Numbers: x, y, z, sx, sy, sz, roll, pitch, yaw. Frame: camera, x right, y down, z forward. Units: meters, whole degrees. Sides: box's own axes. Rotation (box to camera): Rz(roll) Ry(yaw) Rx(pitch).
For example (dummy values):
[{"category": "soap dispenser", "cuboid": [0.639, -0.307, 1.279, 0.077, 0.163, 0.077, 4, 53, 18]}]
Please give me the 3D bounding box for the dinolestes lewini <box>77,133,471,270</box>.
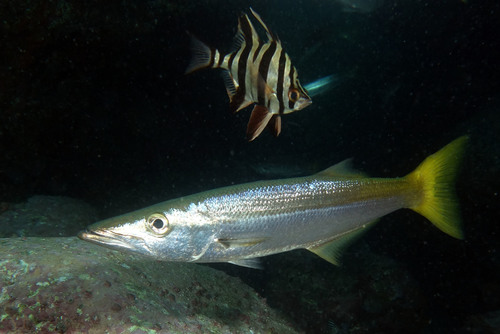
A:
[{"category": "dinolestes lewini", "cuboid": [0.572, 0.788, 8.390, 6.112, 1.142, 2.297, -6, -69, 0]}]
